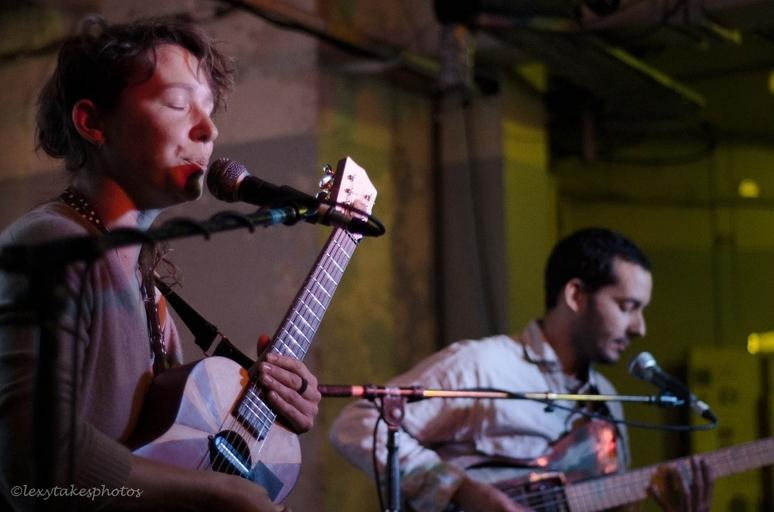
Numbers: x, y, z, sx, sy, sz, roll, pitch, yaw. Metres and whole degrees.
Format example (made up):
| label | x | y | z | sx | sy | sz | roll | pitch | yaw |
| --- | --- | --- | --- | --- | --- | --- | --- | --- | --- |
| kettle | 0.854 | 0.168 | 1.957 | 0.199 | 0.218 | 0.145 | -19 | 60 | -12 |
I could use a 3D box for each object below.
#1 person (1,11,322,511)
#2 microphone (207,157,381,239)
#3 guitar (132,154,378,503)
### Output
| label | x | y | z | sx | sy | sz | roll | pitch | yaw |
| --- | --- | --- | --- | --- | --- | --- | --- | --- | --- |
| person | -1.090 | -0.269 | 4.304 | 0.323 | 2.452 | 1.012 | -22 | -46 | 36 |
| microphone | -0.461 | -0.256 | 4.747 | 0.855 | 0.260 | 0.266 | 17 | 2 | 3 |
| guitar | -0.488 | 0.418 | 4.280 | 0.769 | 0.282 | 2.031 | 16 | -60 | -23 |
